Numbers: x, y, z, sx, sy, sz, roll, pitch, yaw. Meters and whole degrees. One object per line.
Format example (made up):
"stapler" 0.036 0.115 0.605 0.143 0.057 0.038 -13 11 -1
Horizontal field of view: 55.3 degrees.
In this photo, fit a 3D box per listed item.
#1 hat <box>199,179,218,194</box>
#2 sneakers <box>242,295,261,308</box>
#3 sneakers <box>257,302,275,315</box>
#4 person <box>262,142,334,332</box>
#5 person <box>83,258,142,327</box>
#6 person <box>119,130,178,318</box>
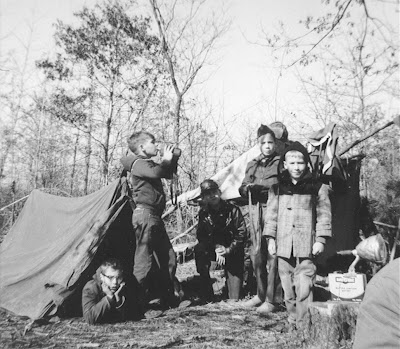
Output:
"hat" 0.108 0.141 5.088 0.152 0.112 0.220 -14 -14 4
"sneakers" 0.616 1.521 4.573 0.231 0.113 0.102 2 -5 -16
"sneakers" 0.752 1.529 4.380 0.196 0.088 0.106 7 3 -13
"person" 1.027 0.611 4.088 0.705 1.947 0.363 0 -7 19
"person" -1.105 1.400 4.509 0.612 0.706 0.814 6 -13 -41
"person" -0.589 0.603 4.584 0.721 1.915 0.377 3 -7 -4
